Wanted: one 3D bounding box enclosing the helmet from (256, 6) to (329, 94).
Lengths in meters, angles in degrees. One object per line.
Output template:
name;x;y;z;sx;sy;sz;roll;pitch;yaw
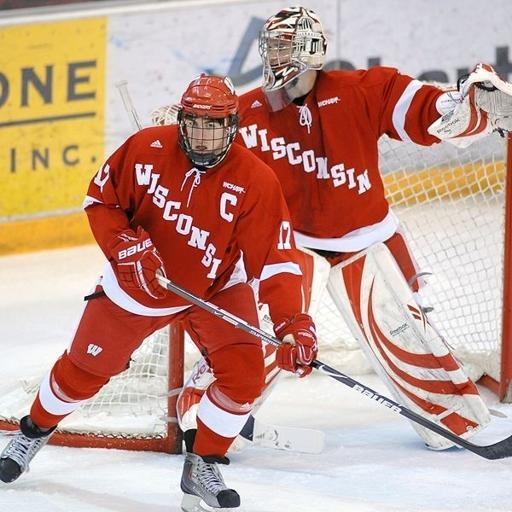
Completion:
helmet;0.115;-0.678;2.580;0.300;0.275;0.243;-2;6;-31

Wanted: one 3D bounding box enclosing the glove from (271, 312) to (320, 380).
glove;0.106;0.243;2.093;0.116;0.168;0.102;2;10;1

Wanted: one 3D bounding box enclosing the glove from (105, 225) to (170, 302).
glove;-0.315;0.027;2.157;0.131;0.195;0.075;-30;-6;10

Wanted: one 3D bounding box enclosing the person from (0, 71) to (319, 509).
person;-0.269;0.120;2.175;0.892;1.256;0.353;2;11;5

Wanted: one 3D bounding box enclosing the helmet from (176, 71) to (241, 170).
helmet;-0.125;-0.374;2.152;0.205;0.232;0.242;3;36;2
